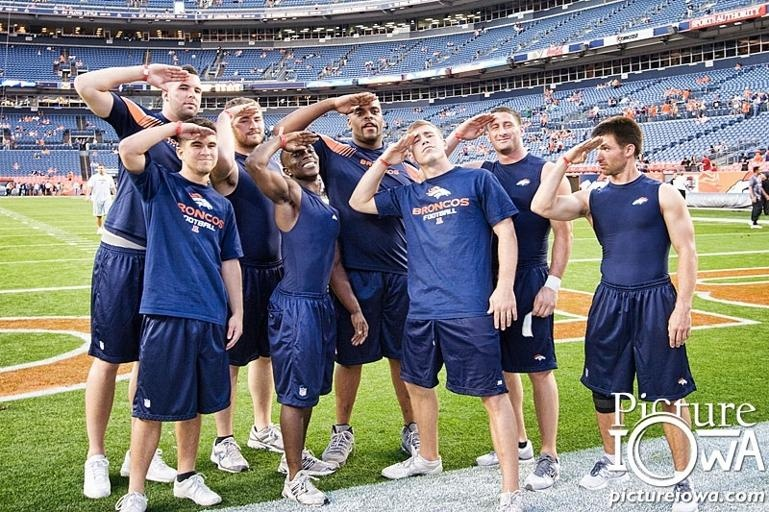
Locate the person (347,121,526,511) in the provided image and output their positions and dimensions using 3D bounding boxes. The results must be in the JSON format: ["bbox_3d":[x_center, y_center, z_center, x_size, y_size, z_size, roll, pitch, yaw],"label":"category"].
[{"bbox_3d":[0.568,0.399,5.641,1.271,3.068,0.470,-1,2,39],"label":"person"}]

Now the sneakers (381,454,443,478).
[{"bbox_3d":[0.238,1.785,5.836,0.576,0.209,0.185,1,-11,-5],"label":"sneakers"}]

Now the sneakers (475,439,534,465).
[{"bbox_3d":[1.081,1.701,6.036,0.650,0.252,0.204,2,-11,-24],"label":"sneakers"}]

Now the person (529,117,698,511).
[{"bbox_3d":[1.945,0.353,5.569,1.097,3.022,0.440,-1,2,23],"label":"person"}]

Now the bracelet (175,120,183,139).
[{"bbox_3d":[-1.625,-1.002,5.402,0.043,0.102,0.097,5,-6,14],"label":"bracelet"}]

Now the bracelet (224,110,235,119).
[{"bbox_3d":[-1.384,-1.264,6.042,0.068,0.068,0.080,-34,18,9],"label":"bracelet"}]

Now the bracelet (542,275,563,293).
[{"bbox_3d":[1.472,0.235,5.963,0.149,0.144,0.143,0,8,-22],"label":"bracelet"}]

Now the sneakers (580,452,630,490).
[{"bbox_3d":[1.800,1.764,5.626,0.451,0.198,0.189,-6,-7,-25],"label":"sneakers"}]

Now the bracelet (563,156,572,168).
[{"bbox_3d":[1.534,-0.791,5.706,0.073,0.070,0.071,4,-38,-19],"label":"bracelet"}]

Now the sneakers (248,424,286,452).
[{"bbox_3d":[-1.074,1.678,6.335,0.413,0.184,0.191,4,-5,16],"label":"sneakers"}]

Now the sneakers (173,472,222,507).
[{"bbox_3d":[-1.507,1.860,5.507,0.492,0.203,0.173,2,1,27],"label":"sneakers"}]

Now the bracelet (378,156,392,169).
[{"bbox_3d":[0.015,-0.805,5.835,0.102,0.027,0.099,44,5,33],"label":"bracelet"}]
